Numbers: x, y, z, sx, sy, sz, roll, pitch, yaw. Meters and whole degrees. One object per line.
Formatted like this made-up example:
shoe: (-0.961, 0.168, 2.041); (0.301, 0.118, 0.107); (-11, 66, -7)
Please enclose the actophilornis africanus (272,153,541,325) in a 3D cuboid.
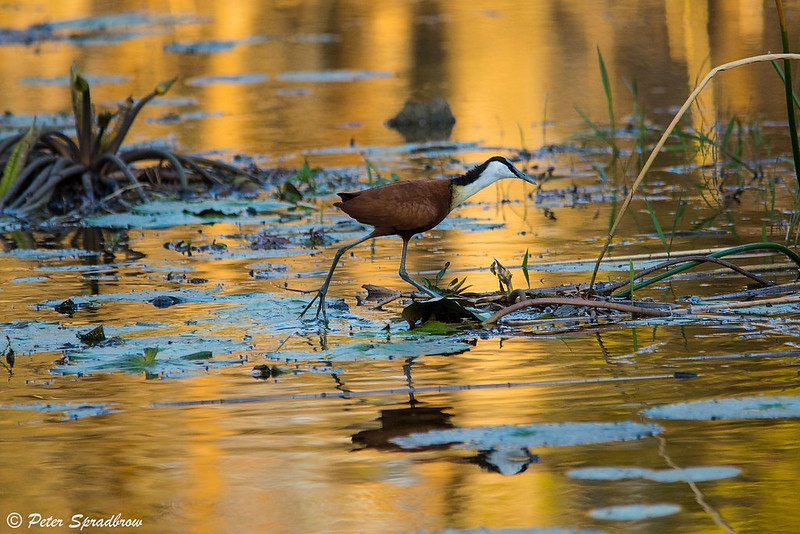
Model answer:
actophilornis africanus: (0.135, -0.242, 6.328); (1.657, 0.673, 0.305); (-9, 4, -12)
